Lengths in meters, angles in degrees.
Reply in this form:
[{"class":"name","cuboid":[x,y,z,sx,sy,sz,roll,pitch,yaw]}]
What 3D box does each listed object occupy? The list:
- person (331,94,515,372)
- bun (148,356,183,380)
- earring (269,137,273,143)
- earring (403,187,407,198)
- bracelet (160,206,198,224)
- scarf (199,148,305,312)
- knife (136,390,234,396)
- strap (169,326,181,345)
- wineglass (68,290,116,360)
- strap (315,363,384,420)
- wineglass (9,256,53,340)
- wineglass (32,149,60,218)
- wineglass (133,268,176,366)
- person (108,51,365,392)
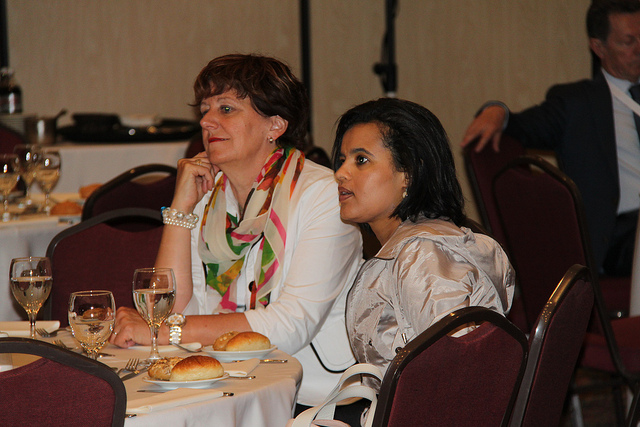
[{"class":"person","cuboid":[0.335,-0.042,2.539,0.632,1.294,1.189,0,-12,7]},{"class":"bun","cuboid":[-0.475,0.463,1.926,0.065,0.023,0.068,0,18,9]},{"class":"earring","cuboid":[-0.208,-0.311,2.720,0.012,0.017,0.009,-6,6,-19]},{"class":"earring","cuboid":[0.287,-0.071,2.168,0.006,0.030,0.025,1,-4,-27]},{"class":"bracelet","cuboid":[-0.589,0.007,2.677,0.091,0.032,0.081,18,1,6]},{"class":"scarf","cuboid":[-0.343,0.038,2.689,0.364,0.687,0.291,3,35,-14]},{"class":"knife","cuboid":[-0.394,0.519,1.864,0.292,0.014,0.026,-1,-5,7]},{"class":"strap","cuboid":[-0.505,0.419,2.229,0.045,0.088,0.051,0,-8,-5]},{"class":"wineglass","cuboid":[-0.717,0.363,2.021,0.130,0.243,0.140,0,-1,-35]},{"class":"strap","cuboid":[0.078,0.468,1.805,0.121,0.232,0.083,26,-14,-24]},{"class":"wineglass","cuboid":[-0.994,0.287,2.202,0.130,0.276,0.115,1,-3,-29]},{"class":"wineglass","cuboid":[-1.602,-0.181,3.751,0.142,0.393,0.249,1,-3,-23]},{"class":"wineglass","cuboid":[-0.541,0.324,2.086,0.107,0.288,0.105,-3,-4,43]},{"class":"person","cuboid":[-0.359,0.081,2.641,0.966,1.408,0.791,-3,9,-21]}]
